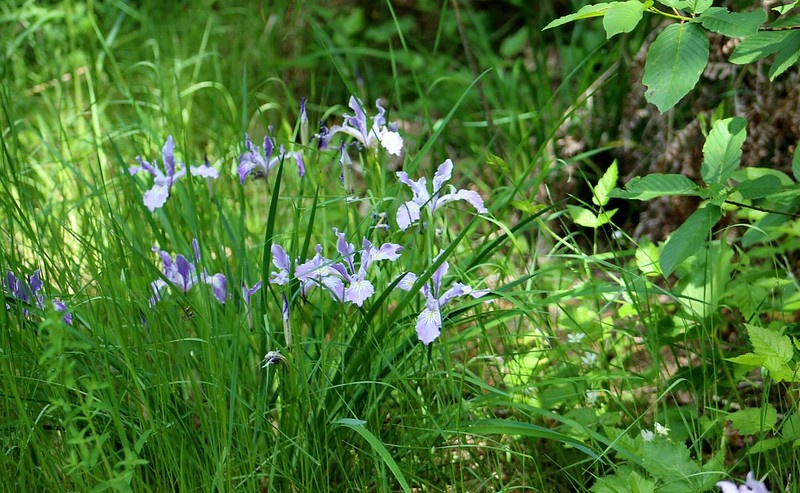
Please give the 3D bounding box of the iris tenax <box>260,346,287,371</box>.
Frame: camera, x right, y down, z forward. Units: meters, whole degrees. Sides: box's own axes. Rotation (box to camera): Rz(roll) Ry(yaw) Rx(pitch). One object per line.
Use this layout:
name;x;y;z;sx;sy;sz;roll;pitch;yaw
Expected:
iris tenax;-0.508;0.432;3.111;0.079;0.098;0.049;8;47;-28

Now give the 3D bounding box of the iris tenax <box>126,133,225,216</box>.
iris tenax;-1.007;-0.310;3.446;0.319;0.180;0.360;0;66;-7

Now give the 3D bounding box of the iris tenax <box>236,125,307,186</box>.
iris tenax;-0.560;-0.416;3.361;0.204;0.148;0.230;10;18;6

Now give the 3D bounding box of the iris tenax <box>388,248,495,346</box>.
iris tenax;0.157;0.228;3.214;0.332;0.335;0.343;-20;37;-24

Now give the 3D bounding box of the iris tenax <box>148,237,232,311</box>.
iris tenax;-0.924;0.116;3.352;0.140;0.439;0.345;-16;68;-5

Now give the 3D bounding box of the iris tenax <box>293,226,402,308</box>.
iris tenax;-0.207;0.096;3.191;0.320;0.136;0.339;24;66;7

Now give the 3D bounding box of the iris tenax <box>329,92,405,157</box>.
iris tenax;-0.138;-0.530;3.480;0.326;0.338;0.261;7;34;14

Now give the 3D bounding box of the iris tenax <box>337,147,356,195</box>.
iris tenax;-0.241;-0.303;3.345;0.047;0.239;0.071;-9;-7;25
